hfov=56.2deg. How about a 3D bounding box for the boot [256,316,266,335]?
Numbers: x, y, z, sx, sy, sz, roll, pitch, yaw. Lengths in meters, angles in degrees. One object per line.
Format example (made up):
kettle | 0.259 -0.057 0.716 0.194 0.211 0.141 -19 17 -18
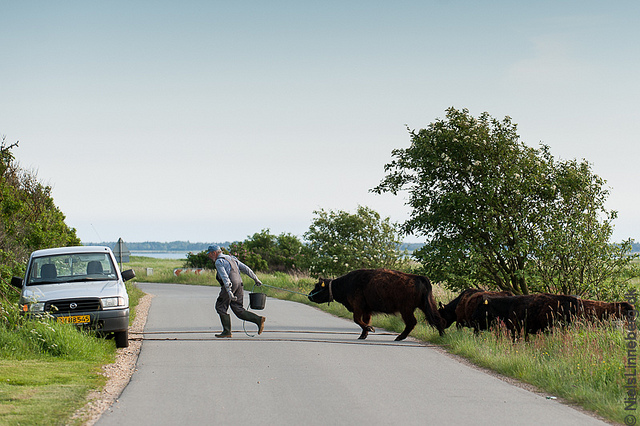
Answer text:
boot | -1.695 3.280 17.290 0.263 0.596 0.196 9 33 6

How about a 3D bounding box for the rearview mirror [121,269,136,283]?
rearview mirror | -5.344 1.723 16.740 0.332 0.304 0.598 1 -2 -19

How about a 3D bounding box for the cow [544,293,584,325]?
cow | 6.418 2.534 15.677 0.771 0.736 0.363 0 -2 21

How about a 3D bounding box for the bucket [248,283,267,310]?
bucket | -1.798 2.642 18.087 0.490 0.659 0.482 -1 -17 0

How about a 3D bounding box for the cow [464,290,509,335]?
cow | 4.514 2.970 17.802 0.699 1.050 1.382 32 -15 -30

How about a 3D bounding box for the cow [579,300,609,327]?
cow | 7.024 2.561 15.391 0.689 0.589 0.513 0 -2 9

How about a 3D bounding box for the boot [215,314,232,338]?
boot | -2.753 3.236 17.283 0.414 0.691 0.515 1 -2 -3

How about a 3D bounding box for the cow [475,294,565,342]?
cow | 5.473 2.966 16.457 2.548 1.408 0.720 -1 -9 20

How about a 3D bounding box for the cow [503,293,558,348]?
cow | 5.754 2.984 16.517 0.739 1.433 2.614 -3 -6 -30

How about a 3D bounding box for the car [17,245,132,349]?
car | -6.550 2.222 16.017 2.502 2.639 2.873 2 -2 -34
